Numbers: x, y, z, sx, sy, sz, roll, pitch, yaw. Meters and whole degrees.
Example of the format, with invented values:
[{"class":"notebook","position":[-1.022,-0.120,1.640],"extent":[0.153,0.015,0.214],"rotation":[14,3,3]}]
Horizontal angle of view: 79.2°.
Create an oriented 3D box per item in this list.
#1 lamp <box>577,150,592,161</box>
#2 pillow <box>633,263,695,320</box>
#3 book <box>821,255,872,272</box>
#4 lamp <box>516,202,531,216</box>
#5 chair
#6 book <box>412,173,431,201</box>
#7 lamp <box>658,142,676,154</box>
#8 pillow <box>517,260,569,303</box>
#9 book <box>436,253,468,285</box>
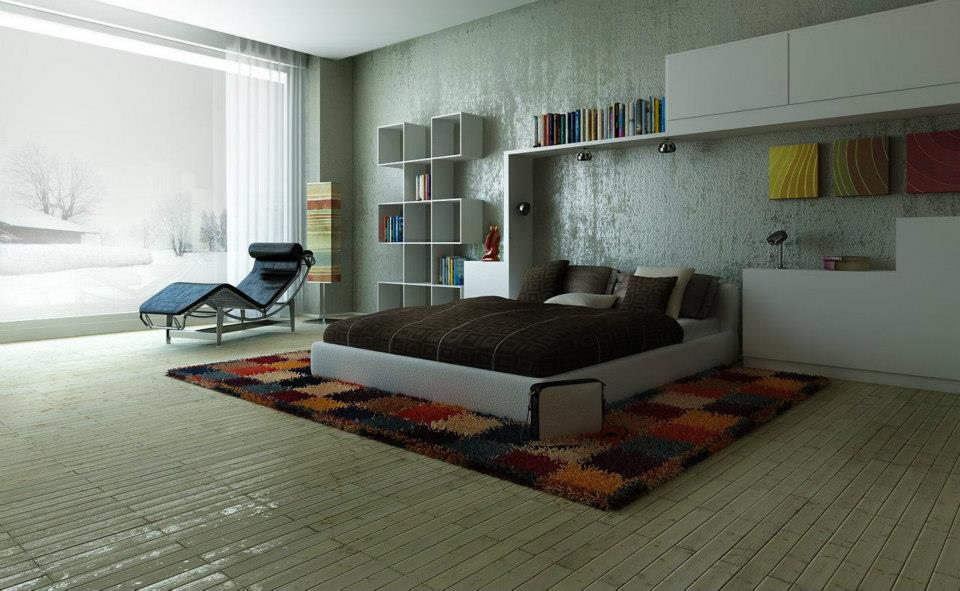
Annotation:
[{"class":"lamp","position":[1.118,-1.479,6.222],"extent":[0.148,0.092,0.136],"rotation":[-2,-2,-10]},{"class":"pillow","position":[1.798,-0.040,5.535],"extent":[0.173,0.481,0.549],"rotation":[20,-6,-29]},{"class":"book","position":[3.174,-0.280,5.047],"extent":[0.337,0.106,0.146],"rotation":[3,10,26]},{"class":"lamp","position":[0.491,-0.978,6.635],"extent":[0.143,0.130,0.102],"rotation":[1,-8,24]},{"class":"chair","position":[-2.897,-0.036,6.761],"extent":[0.944,0.924,1.782],"rotation":[2,9,30]},{"class":"book","position":[-0.744,-1.387,7.506],"extent":[0.280,0.329,0.108],"rotation":[5,12,37]},{"class":"lamp","position":[1.833,-1.441,5.739],"extent":[0.153,0.120,0.140],"rotation":[-3,5,-2]},{"class":"pillow","position":[0.618,-0.099,6.213],"extent":[0.284,0.407,0.555],"rotation":[-10,1,-30]},{"class":"book","position":[-0.388,-0.326,7.408],"extent":[0.359,0.419,0.485],"rotation":[3,3,37]}]
